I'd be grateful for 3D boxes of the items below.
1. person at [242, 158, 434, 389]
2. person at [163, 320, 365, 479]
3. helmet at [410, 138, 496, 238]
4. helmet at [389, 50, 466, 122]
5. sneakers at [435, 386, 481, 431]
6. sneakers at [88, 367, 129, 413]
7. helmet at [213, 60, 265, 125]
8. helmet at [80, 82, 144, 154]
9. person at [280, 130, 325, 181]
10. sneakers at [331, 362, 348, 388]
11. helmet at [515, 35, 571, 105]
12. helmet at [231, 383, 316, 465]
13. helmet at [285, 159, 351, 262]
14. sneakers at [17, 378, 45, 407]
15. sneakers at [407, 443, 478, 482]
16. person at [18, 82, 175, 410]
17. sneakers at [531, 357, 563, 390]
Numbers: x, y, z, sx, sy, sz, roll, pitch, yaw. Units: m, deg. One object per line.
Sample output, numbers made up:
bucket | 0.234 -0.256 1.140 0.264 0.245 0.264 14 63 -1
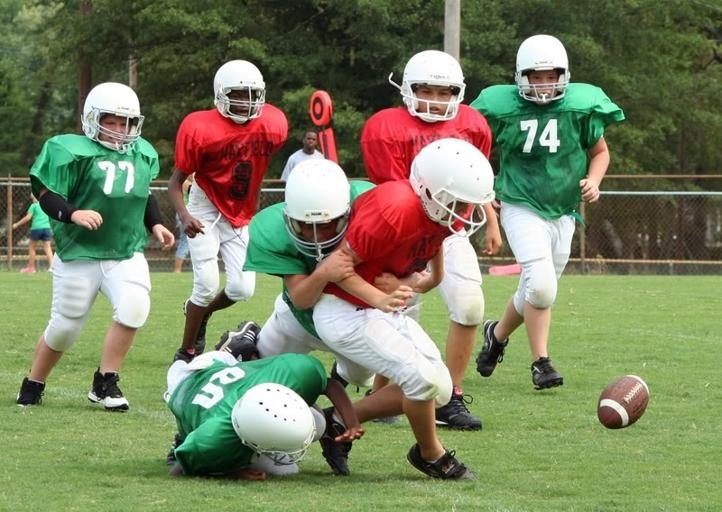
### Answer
person | -0.258 0.270 5.958 1.091 1.799 0.759 8 26 -6
person | -0.802 0.852 5.631 0.770 0.369 0.943 -11 27 -39
helmet | 0.527 -0.397 5.560 0.479 0.567 0.371 -1 9 -10
helmet | 0.490 -1.140 6.676 0.547 0.445 0.638 6 3 18
sneakers | 0.637 1.073 6.537 0.164 0.189 0.406 9 -8 -31
sneakers | -1.806 0.958 6.788 0.178 0.251 0.383 -7 12 -40
helmet | -0.980 -1.376 7.808 0.422 0.452 0.504 -5 32 -25
helmet | -1.812 -1.022 6.965 0.371 0.421 0.515 6 13 -39
person | -0.670 -1.212 12.179 0.743 0.793 0.288 3 -28 3
sneakers | -0.141 0.764 6.145 0.115 0.058 0.155 39 -4 -27
helmet | 1.397 -1.390 7.256 0.354 0.405 0.495 1 5 12
helmet | -0.492 0.987 5.445 0.452 0.366 0.358 26 -27 10
helmet | -0.239 -0.290 5.608 0.392 0.513 0.534 0 40 0
sneakers | -2.352 0.956 6.781 0.213 0.183 0.174 -6 11 -38
sneakers | 0.465 1.252 5.629 0.450 0.203 0.169 21 37 -16
person | -1.929 -0.086 6.827 0.943 2.298 0.627 -2 9 -13
sneakers | 1.357 0.873 7.000 0.129 0.230 0.257 -4 10 -27
